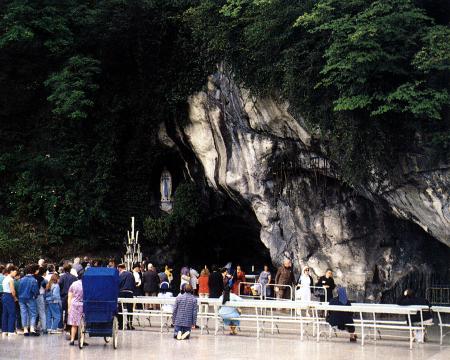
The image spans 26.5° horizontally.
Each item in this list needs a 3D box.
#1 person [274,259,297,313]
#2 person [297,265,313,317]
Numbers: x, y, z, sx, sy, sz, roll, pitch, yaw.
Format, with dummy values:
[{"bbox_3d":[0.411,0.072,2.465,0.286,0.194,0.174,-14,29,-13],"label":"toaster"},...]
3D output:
[{"bbox_3d":[2.369,4.087,37.549,0.778,1.948,0.505,0,15,-3],"label":"person"},{"bbox_3d":[2.933,4.015,35.343,0.563,2.302,0.464,-2,-3,-7],"label":"person"}]
